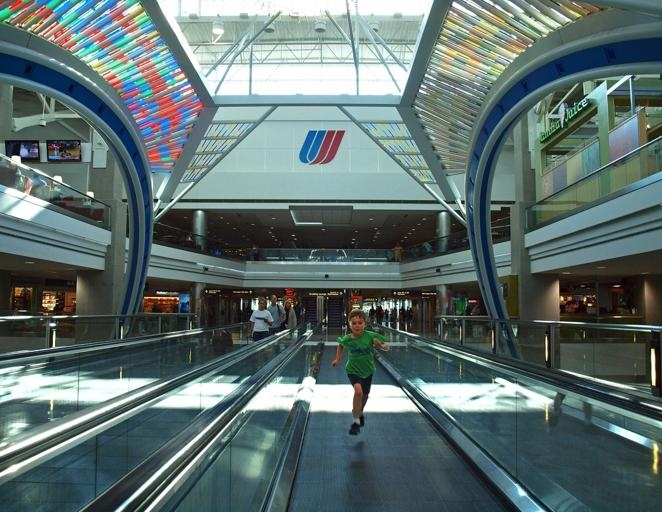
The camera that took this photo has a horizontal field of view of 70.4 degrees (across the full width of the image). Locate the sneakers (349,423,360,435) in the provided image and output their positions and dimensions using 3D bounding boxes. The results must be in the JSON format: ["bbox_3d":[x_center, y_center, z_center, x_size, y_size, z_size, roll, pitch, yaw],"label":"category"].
[{"bbox_3d":[0.302,2.186,6.033,0.122,0.084,0.160,-1,-1,-3],"label":"sneakers"}]

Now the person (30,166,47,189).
[{"bbox_3d":[-8.669,-2.238,14.016,0.166,0.563,0.945,9,-5,-12],"label":"person"}]

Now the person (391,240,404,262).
[{"bbox_3d":[5.006,-0.196,35.354,0.639,1.163,0.859,8,-5,-6],"label":"person"}]
